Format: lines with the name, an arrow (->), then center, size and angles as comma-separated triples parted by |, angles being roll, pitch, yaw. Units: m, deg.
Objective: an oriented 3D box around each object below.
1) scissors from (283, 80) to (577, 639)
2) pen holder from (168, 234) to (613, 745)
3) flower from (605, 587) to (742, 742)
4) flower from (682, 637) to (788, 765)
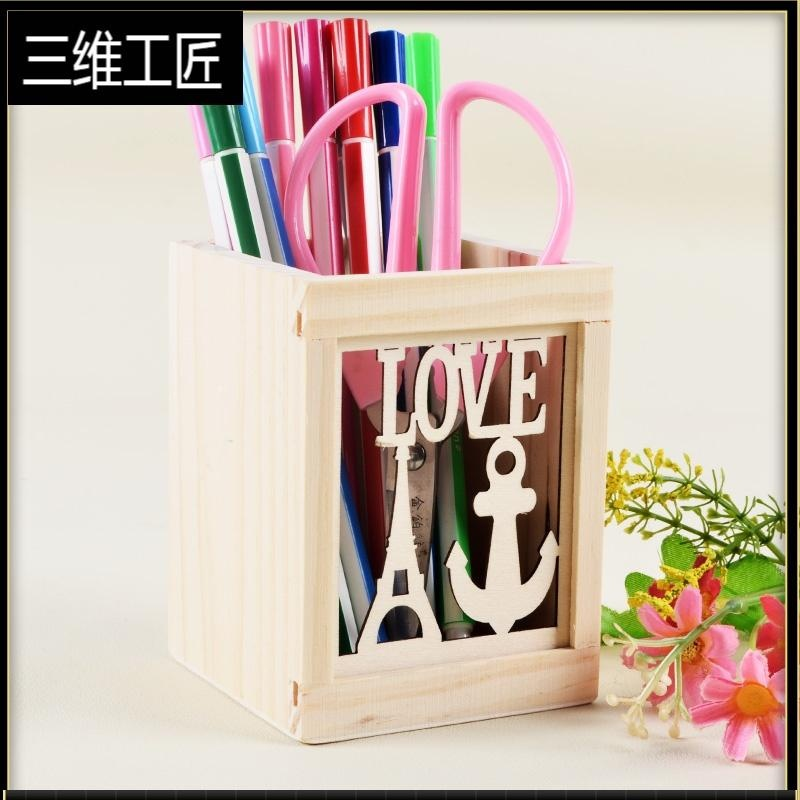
scissors -> 0.016, 0.000, 0.643 | 0.238, 0.292, 0.039 | -1, 6, -4
pen holder -> -0.002, 0.038, 0.746 | 0.212, 0.332, 0.240 | -3, 6, -28
flower -> 0.157, 0.131, 0.644 | 0.033, 0.100, 0.064 | 26, -17, -23
flower -> 0.182, 0.164, 0.617 | 0.050, 0.061, 0.024 | 2, 13, 8
